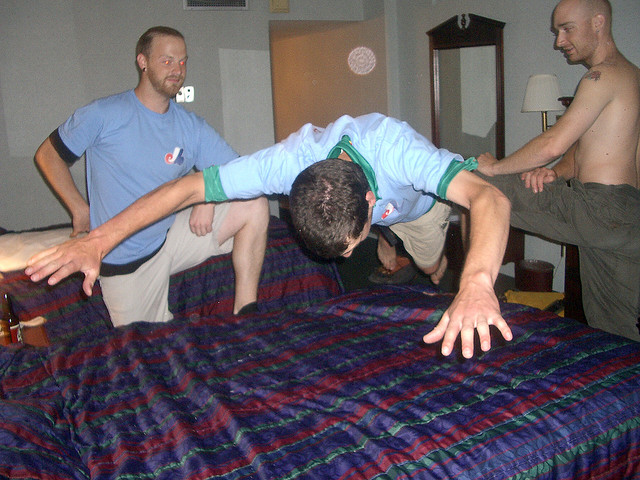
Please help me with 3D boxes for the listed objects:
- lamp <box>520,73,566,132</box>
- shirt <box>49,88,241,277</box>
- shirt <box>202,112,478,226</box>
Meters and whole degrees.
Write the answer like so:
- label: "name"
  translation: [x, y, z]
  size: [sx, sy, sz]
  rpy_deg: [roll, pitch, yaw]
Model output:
- label: "lamp"
  translation: [1.509, -0.928, 3.514]
  size: [0.252, 0.359, 0.367]
  rpy_deg: [9, 22, 29]
- label: "shirt"
  translation: [-0.943, -0.351, 2.838]
  size: [1.026, 0.894, 0.373]
  rpy_deg: [6, 19, -34]
- label: "shirt"
  translation: [0.110, -0.243, 2.217]
  size: [1.015, 0.545, 0.600]
  rpy_deg: [2, 20, 11]
